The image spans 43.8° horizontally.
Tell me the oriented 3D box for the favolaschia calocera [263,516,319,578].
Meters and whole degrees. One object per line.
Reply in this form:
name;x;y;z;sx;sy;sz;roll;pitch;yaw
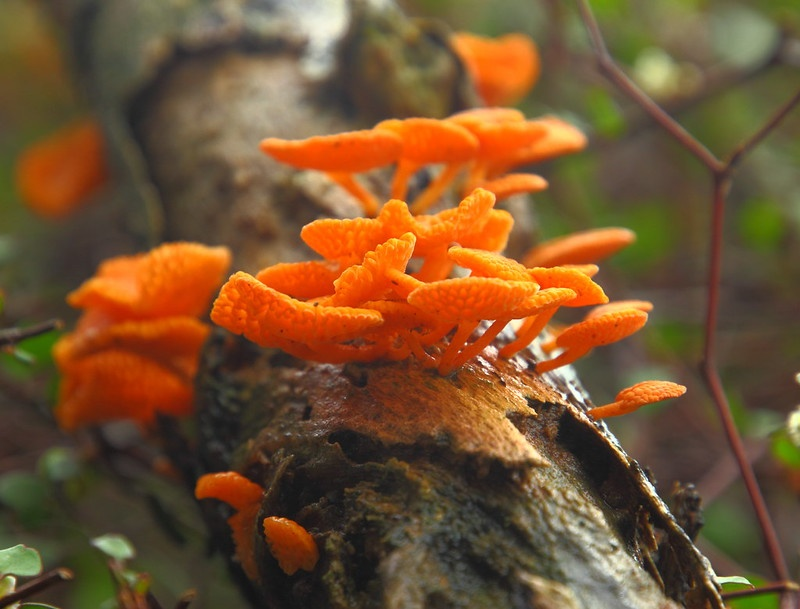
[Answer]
favolaschia calocera;-0.341;0.782;3.302;0.144;0.197;0.068;-34;11;22

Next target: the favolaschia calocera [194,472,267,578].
favolaschia calocera;-0.543;0.747;3.379;0.268;0.359;0.091;-7;12;-23
